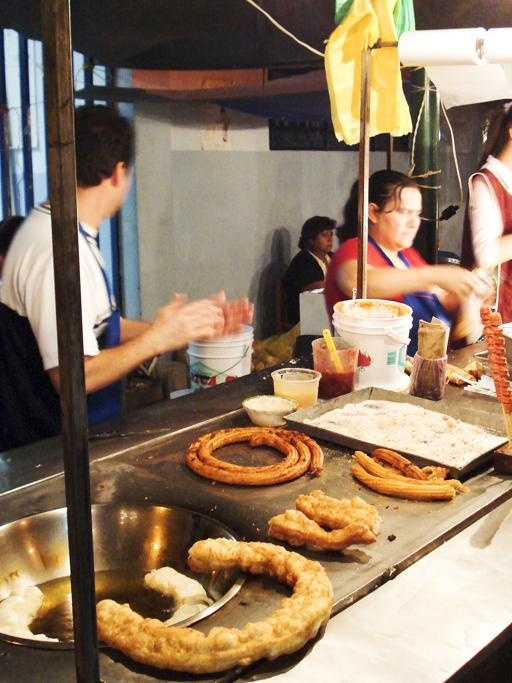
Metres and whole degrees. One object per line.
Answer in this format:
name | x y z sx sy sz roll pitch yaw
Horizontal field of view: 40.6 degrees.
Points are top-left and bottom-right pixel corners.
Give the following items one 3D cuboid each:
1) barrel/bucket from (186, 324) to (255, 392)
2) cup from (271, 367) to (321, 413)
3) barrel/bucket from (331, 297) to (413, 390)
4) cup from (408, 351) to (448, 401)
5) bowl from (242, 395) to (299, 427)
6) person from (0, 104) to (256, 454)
barrel/bucket | -0.206 0.072 3.449 0.327 0.310 0.314 0 19 0
cup | 0.098 0.110 1.583 0.094 0.067 0.094 0 5 0
barrel/bucket | 0.299 0.010 1.733 0.198 0.192 0.193 -3 18 1
cup | 0.416 0.078 1.657 0.081 0.111 0.079 -2 23 1
bowl | 0.029 0.144 1.467 0.074 0.029 0.072 0 9 0
person | -0.524 -0.232 2.465 0.470 1.235 1.206 2 14 11
